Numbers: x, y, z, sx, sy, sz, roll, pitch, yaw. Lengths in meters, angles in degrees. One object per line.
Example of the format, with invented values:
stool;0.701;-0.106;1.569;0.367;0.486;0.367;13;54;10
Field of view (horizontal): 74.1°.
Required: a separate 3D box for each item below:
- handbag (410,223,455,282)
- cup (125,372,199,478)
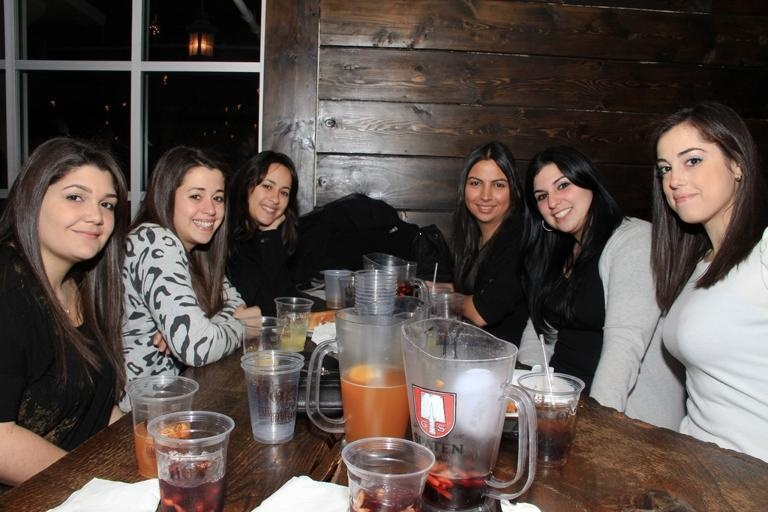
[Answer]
handbag;0.309;-0.026;3.343;0.309;0.347;0.132;3;-3;-8
cup;-0.582;0.461;1.353;0.193;0.209;0.185;2;-5;0
